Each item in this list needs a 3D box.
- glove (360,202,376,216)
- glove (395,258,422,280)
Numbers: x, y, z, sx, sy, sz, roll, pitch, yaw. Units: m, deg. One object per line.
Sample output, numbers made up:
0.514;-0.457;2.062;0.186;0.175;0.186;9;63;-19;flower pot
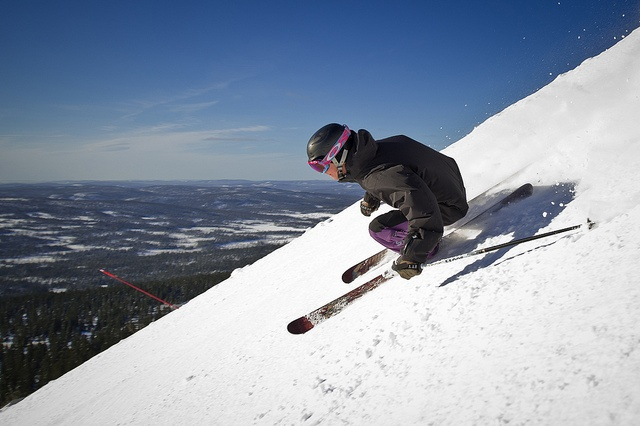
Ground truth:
1.030;-0.093;8.845;0.288;0.144;0.344;12;6;33;glove
1.344;0.866;6.491;0.324;0.167;0.413;3;4;-35;glove
